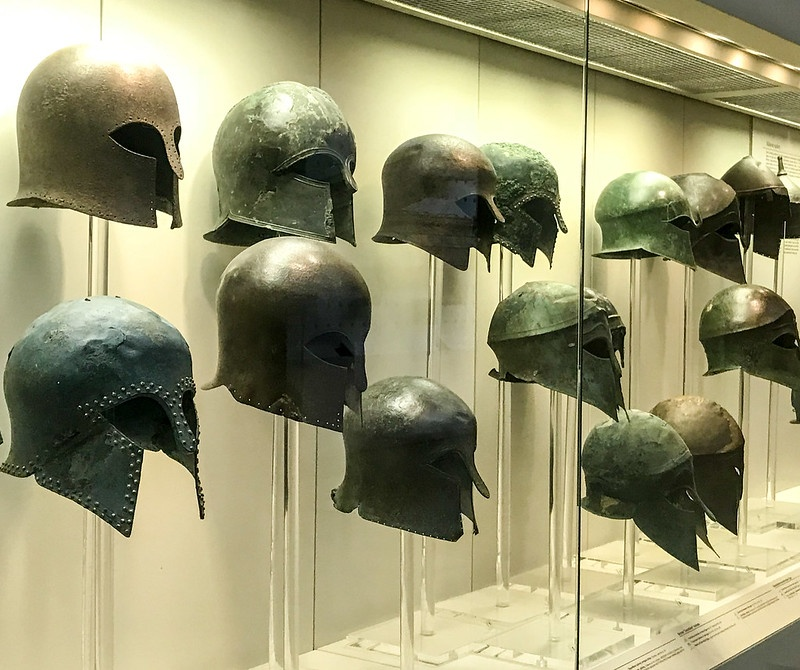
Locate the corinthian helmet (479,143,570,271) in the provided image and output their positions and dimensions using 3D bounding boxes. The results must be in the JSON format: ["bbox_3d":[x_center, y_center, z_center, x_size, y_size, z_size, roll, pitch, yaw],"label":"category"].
[{"bbox_3d":[0.270,-0.287,2.569,0.232,0.264,0.185,3,0,3],"label":"corinthian helmet"}]

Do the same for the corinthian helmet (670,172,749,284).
[{"bbox_3d":[0.721,-0.247,2.734,0.209,0.245,0.203,0,0,-13],"label":"corinthian helmet"}]

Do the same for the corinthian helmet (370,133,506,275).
[{"bbox_3d":[0.072,-0.274,2.399,0.262,0.292,0.208,2,1,19],"label":"corinthian helmet"}]

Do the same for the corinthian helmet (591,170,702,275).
[{"bbox_3d":[0.529,-0.250,2.582,0.207,0.200,0.174,0,0,-2],"label":"corinthian helmet"}]
